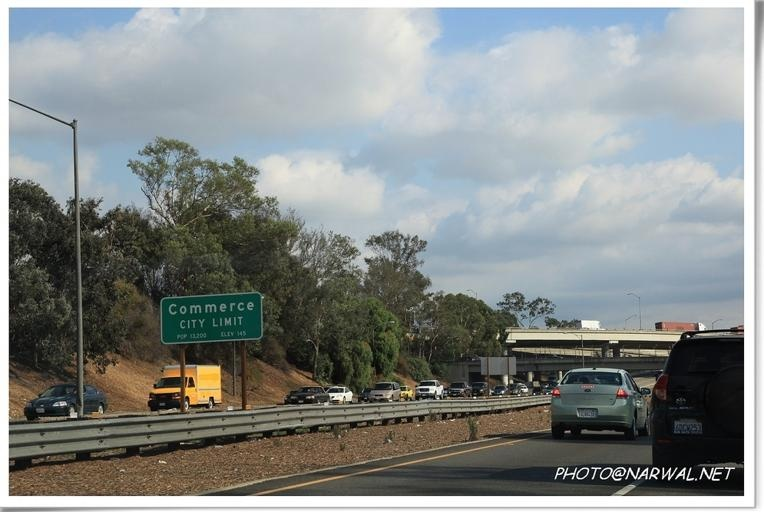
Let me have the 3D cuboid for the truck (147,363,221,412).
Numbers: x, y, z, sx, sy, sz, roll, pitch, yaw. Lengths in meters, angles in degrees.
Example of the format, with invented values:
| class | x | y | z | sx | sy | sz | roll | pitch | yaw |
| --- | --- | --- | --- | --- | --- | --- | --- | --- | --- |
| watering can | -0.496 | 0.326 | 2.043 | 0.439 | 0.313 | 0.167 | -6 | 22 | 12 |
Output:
| class | x | y | z | sx | sy | sz | roll | pitch | yaw |
| --- | --- | --- | --- | --- | --- | --- | --- | --- | --- |
| truck | -12.515 | 8.343 | 49.669 | 2.411 | 2.839 | 5.434 | -2 | -7 | 12 |

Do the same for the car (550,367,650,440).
| class | x | y | z | sx | sy | sz | roll | pitch | yaw |
| --- | --- | --- | --- | --- | --- | --- | --- | --- | --- |
| car | 6.845 | 4.724 | 25.220 | 2.686 | 2.159 | 1.096 | -2 | -8 | 2 |
